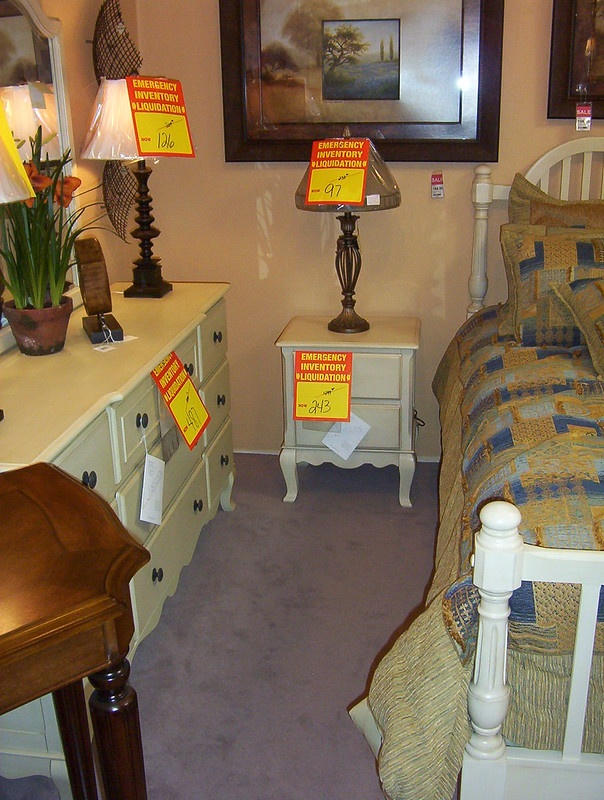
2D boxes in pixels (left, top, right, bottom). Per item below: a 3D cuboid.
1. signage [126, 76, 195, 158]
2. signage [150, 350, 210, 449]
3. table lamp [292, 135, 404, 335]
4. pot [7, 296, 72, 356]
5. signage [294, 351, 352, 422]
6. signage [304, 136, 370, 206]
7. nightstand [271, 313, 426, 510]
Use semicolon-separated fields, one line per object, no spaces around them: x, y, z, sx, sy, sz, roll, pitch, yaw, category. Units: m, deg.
-0.433;-0.858;1.859;0.185;0.222;0.102;-14;24;-28;signage
-0.348;0.000;1.712;0.014;0.272;0.288;-20;8;9;signage
0.197;-0.683;2.469;0.423;0.786;0.427;-16;32;-24;table lamp
-0.651;-0.171;1.572;0.136;0.114;0.152;6;31;5;pot
0.086;-0.061;2.369;0.255;0.325;0.017;1;12;4;signage
0.134;-0.810;2.192;0.244;0.258;0.020;10;5;22;signage
0.215;0.012;2.768;0.774;0.985;0.686;1;27;5;nightstand
